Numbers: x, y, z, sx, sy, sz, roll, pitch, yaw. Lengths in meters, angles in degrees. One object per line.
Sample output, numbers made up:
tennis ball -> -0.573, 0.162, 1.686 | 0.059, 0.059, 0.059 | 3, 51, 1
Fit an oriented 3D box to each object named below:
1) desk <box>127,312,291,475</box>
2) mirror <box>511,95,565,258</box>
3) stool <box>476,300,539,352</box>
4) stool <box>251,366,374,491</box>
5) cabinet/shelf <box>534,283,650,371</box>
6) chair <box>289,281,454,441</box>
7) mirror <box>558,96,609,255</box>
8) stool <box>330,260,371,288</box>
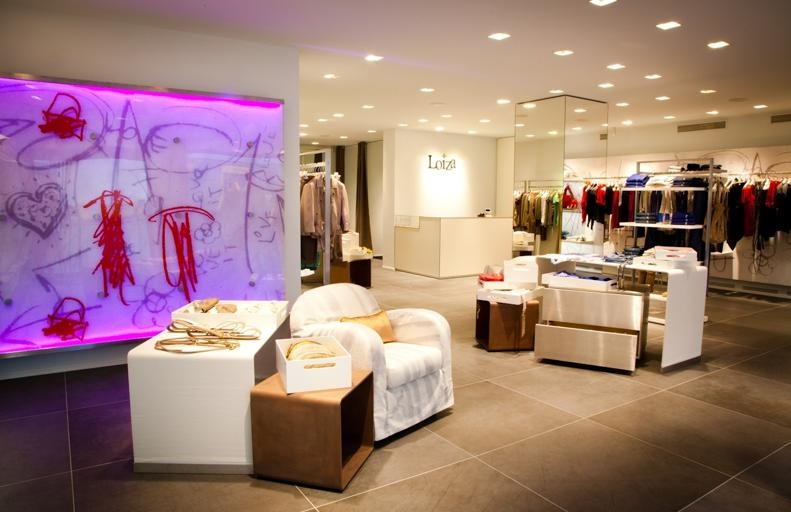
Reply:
desk -> -1.569, 1.140, 4.059 | 0.832, 0.747, 1.530 | 0, 4, -3
mirror -> 2.177, -1.175, 7.288 | 0.603, 2.299, 0.918 | -3, 8, -12
stool -> 1.349, 0.822, 6.019 | 0.629, 0.593, 0.621 | 0, 4, -3
stool -> -0.650, 1.259, 3.987 | 0.840, 0.761, 0.892 | 1, 2, 17
cabinet/shelf -> 2.116, 0.787, 5.375 | 1.016, 0.729, 0.988 | 1, 1, 36
chair -> -0.216, 0.859, 4.572 | 1.418, 1.131, 1.443 | 0, 3, 17
mirror -> 2.955, -1.278, 7.660 | 0.579, 2.298, 1.976 | 2, 8, 23
stool -> -0.869, 0.292, 9.066 | 0.521, 0.720, 0.759 | 1, 1, 38
